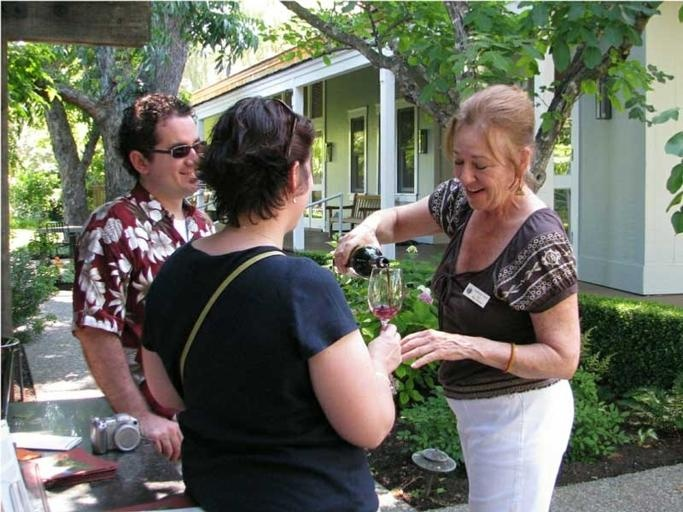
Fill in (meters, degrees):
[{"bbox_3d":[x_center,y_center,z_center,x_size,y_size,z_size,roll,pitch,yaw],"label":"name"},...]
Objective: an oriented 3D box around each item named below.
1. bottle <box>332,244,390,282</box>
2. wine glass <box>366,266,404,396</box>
[{"bbox_3d":[0.095,0.022,2.825,0.158,0.155,0.263,-6,14,-43],"label":"bottle"},{"bbox_3d":[0.174,0.301,2.545,0.204,0.449,0.238,0,4,6],"label":"wine glass"}]
